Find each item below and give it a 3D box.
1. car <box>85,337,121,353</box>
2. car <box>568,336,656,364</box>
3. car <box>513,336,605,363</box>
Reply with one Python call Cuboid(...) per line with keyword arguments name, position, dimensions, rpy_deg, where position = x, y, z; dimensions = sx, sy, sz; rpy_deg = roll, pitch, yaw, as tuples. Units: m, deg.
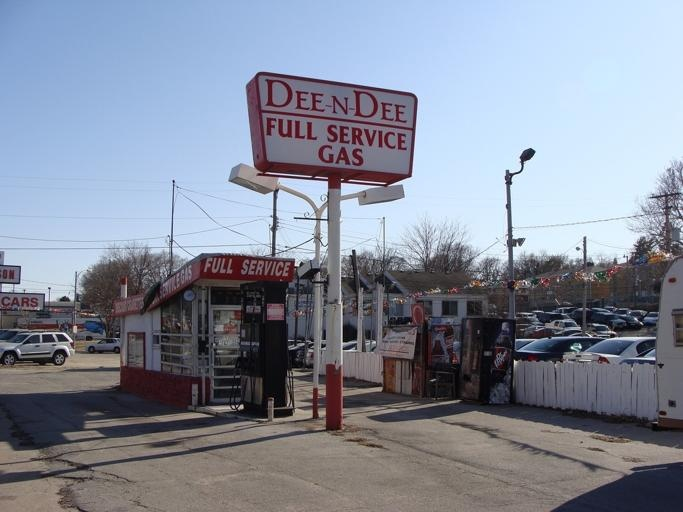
Cuboid(name="car", position=(-20.687, 7.783, 58.661), dimensions=(2.552, 1.186, 1.817), rpy_deg=(3, -6, -29))
Cuboid(name="car", position=(8.205, 2.876, 20.478), dimensions=(1.858, 0.691, 0.885), rpy_deg=(-7, 5, -32))
Cuboid(name="car", position=(7.117, 3.060, 22.581), dimensions=(2.645, 0.984, 1.270), rpy_deg=(-5, 3, -28))
